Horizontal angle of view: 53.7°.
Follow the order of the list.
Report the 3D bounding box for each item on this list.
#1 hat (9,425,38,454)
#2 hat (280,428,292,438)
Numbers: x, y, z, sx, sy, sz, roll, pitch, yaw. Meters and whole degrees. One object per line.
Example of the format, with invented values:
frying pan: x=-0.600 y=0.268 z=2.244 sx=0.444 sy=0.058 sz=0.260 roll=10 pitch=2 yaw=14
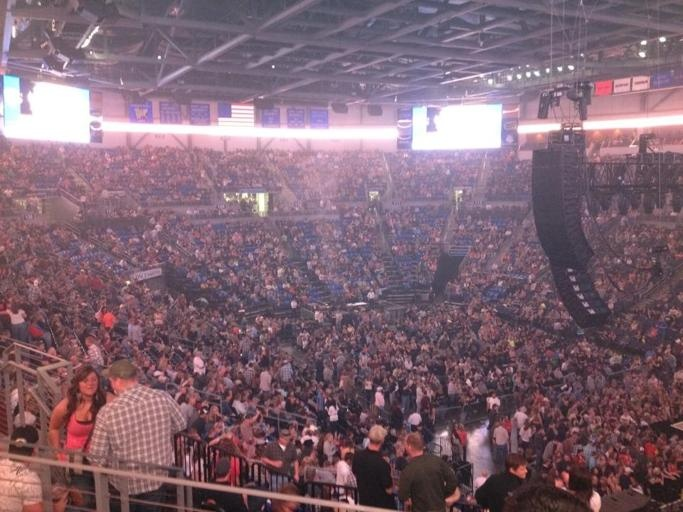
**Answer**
hat: x=-5.919 y=3.382 z=12.436 sx=0.447 sy=0.688 sz=0.224 roll=7 pitch=-2 yaw=10
hat: x=-1.334 y=4.108 z=15.814 sx=0.222 sy=0.187 sz=0.623 roll=3 pitch=-4 yaw=-4
